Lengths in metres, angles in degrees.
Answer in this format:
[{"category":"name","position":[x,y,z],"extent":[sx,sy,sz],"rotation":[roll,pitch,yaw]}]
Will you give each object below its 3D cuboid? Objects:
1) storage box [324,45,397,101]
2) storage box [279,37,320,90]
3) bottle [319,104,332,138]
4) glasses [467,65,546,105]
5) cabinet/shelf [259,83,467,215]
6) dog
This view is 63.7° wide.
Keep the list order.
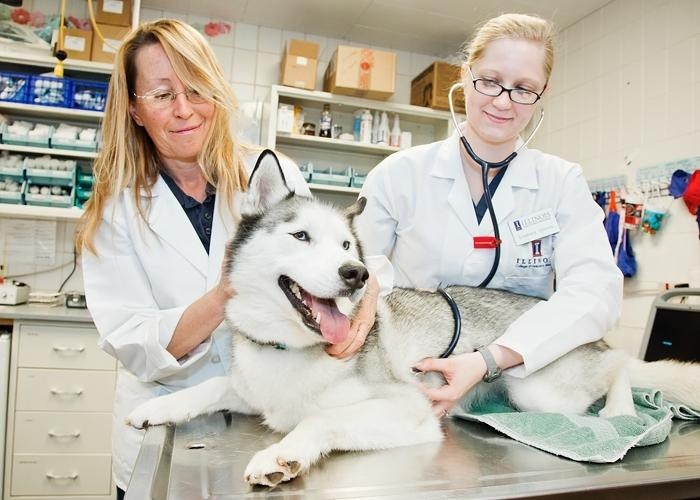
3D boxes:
[{"category":"storage box","position":[0.124,-1.615,5.152],"extent":[0.503,0.314,0.510],"rotation":[6,-5,-9]},{"category":"storage box","position":[-0.485,-1.677,5.368],"extent":[0.422,0.502,0.436],"rotation":[7,-9,-10]},{"category":"bottle","position":[-0.226,-1.243,5.415],"extent":[0.119,0.318,0.244],"rotation":[1,9,-4]},{"category":"glasses","position":[0.705,-0.749,2.563],"extent":[0.345,0.175,0.111],"rotation":[4,9,11]},{"category":"cabinet/shelf","position":[-0.142,-0.994,7.118],"extent":[3.508,0.969,2.292],"rotation":[5,1,-16]},{"category":"dog","position":[0.492,0.293,2.815],"extent":[2.808,1.313,1.028],"rotation":[0,-4,-14]}]
